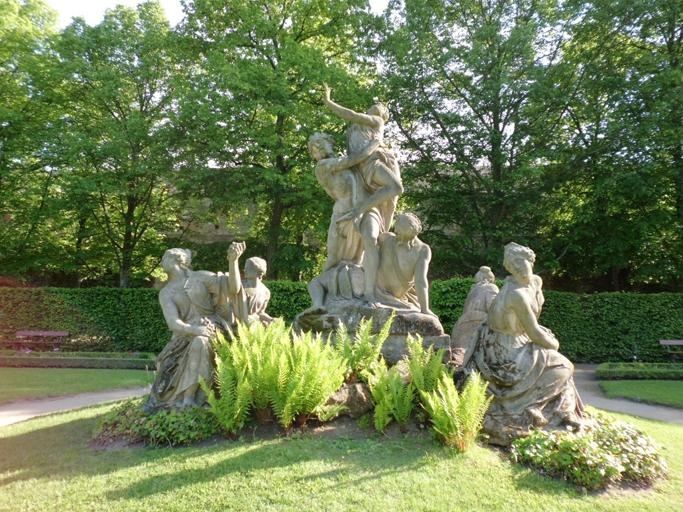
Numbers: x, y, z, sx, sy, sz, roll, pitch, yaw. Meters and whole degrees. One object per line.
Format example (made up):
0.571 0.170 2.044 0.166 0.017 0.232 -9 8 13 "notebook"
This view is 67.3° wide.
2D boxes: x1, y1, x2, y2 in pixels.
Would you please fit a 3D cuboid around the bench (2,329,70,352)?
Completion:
-10.922 3.040 18.608 2.148 0.740 0.708 0 -5 12 "bench"

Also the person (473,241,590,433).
2.629 1.161 7.457 1.340 2.751 0.876 2 -4 -15 "person"
